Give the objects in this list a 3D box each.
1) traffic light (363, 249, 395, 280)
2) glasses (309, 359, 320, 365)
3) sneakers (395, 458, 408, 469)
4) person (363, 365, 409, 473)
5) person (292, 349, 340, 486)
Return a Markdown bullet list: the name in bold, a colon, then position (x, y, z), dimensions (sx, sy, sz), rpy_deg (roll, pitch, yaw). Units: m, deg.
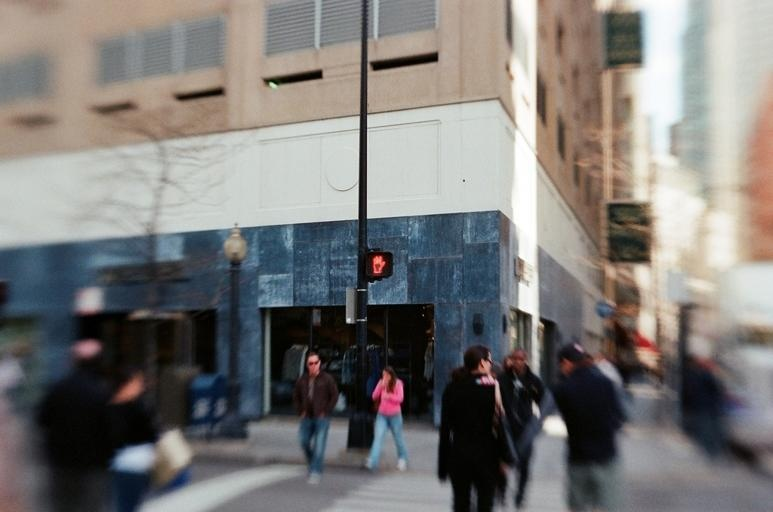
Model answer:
- **traffic light**: position (-0.152, 0.144, 14.194), dimensions (0.414, 0.630, 0.295), rpy_deg (1, 1, -9)
- **glasses**: position (-1.077, 1.563, 11.509), dimensions (0.122, 0.086, 0.104), rpy_deg (0, -4, -19)
- **sneakers**: position (0.247, 3.321, 12.505), dimensions (0.149, 0.172, 0.156), rpy_deg (-2, -5, 38)
- **person**: position (-0.003, 2.644, 12.808), dimensions (0.678, 1.601, 1.215), rpy_deg (-1, -4, 1)
- **person**: position (-1.002, 2.343, 11.387), dimensions (0.594, 1.790, 0.715), rpy_deg (0, -4, -16)
